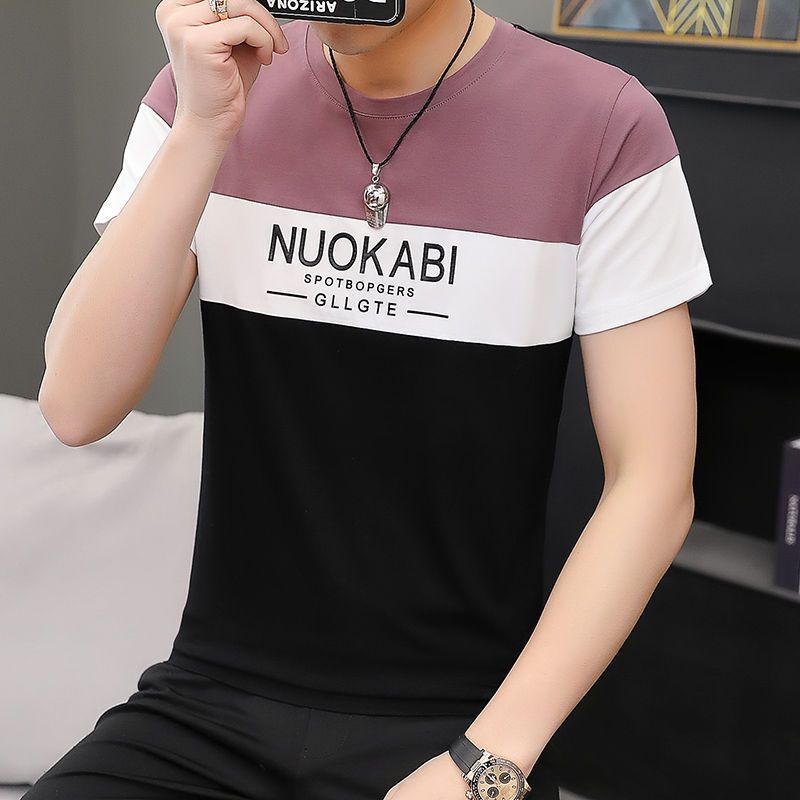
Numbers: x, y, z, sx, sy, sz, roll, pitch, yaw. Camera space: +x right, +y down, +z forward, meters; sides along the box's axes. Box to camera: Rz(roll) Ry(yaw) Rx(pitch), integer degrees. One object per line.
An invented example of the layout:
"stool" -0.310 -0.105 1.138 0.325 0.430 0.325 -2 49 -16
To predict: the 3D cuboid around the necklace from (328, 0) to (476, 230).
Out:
"necklace" 0.008 -0.265 0.794 0.140 0.157 0.138 -5 36 -4
